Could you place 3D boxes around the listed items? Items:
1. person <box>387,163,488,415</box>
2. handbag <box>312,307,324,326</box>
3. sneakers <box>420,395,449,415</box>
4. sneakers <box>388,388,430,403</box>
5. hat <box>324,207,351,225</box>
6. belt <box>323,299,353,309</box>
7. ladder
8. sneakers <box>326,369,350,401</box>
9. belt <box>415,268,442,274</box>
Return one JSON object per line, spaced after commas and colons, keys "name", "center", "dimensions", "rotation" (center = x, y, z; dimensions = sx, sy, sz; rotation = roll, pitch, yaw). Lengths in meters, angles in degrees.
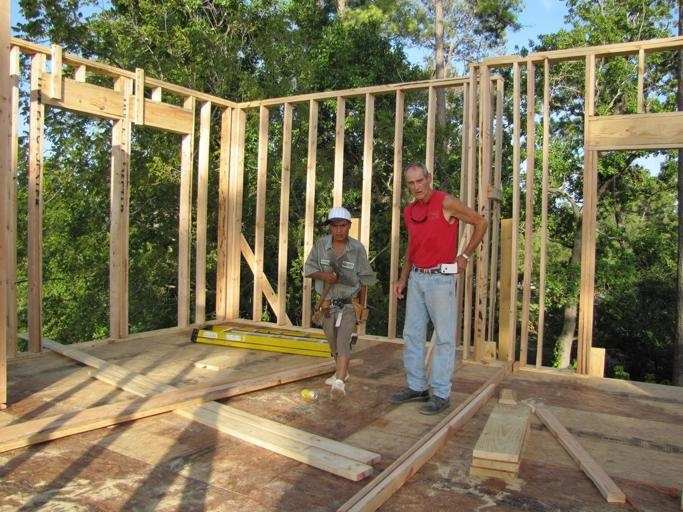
{"name": "person", "center": [0.766, 0.253, 4.899], "dimensions": [0.617, 1.955, 0.415], "rotation": [4, 9, 14]}
{"name": "handbag", "center": [-0.203, 0.526, 5.337], "dimensions": [0.102, 0.139, 0.058], "rotation": [-1, 0, 21]}
{"name": "sneakers", "center": [0.743, 1.193, 4.878], "dimensions": [0.097, 0.107, 0.264], "rotation": [-8, -13, 40]}
{"name": "sneakers", "center": [0.560, 1.149, 5.121], "dimensions": [0.342, 0.150, 0.125], "rotation": [3, -4, -9]}
{"name": "hat", "center": [-0.019, -0.356, 5.316], "dimensions": [0.184, 0.142, 0.244], "rotation": [1, 9, -2]}
{"name": "belt", "center": [-0.038, 0.407, 5.327], "dimensions": [0.178, 0.069, 0.111], "rotation": [-1, -5, 7]}
{"name": "ladder", "center": [-0.741, 0.902, 6.406], "dimensions": [1.118, 0.130, 0.342], "rotation": [5, 11, 27]}
{"name": "sneakers", "center": [-0.031, 1.112, 5.251], "dimensions": [0.143, 0.174, 0.434], "rotation": [0, -14, 2]}
{"name": "belt", "center": [0.696, 0.111, 4.918], "dimensions": [0.205, 0.054, 0.021], "rotation": [8, 11, 36]}
